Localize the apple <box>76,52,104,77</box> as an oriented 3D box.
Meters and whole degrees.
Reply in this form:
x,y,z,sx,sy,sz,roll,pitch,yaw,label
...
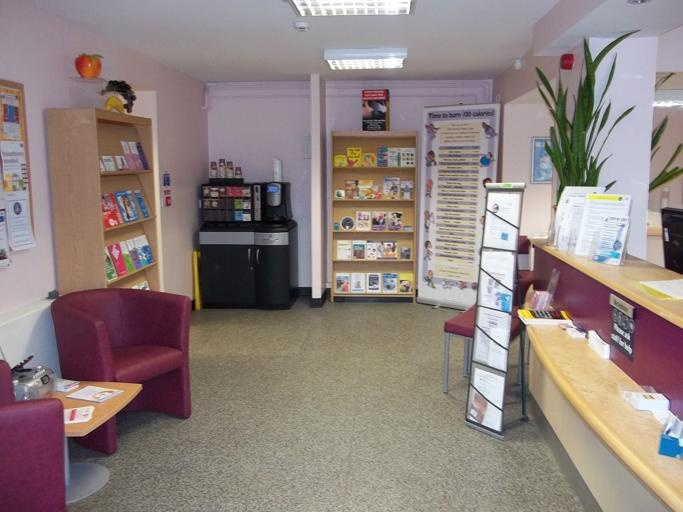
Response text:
x,y,z,sx,sy,sz,roll,pitch,yaw,label
-2.246,-1.686,4.357,0.247,0.246,0.247,-6,28,-31,apple

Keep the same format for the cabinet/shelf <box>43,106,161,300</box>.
x,y,z,sx,sy,sz,roll,pitch,yaw,label
-2.141,-0.440,4.453,0.474,1.728,0.990,4,14,15,cabinet/shelf

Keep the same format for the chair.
x,y,z,sx,sy,sz,roll,pitch,yaw,label
1.319,0.684,4.355,0.449,0.818,1.551,2,7,19,chair

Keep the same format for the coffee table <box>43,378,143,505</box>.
x,y,z,sx,sy,sz,roll,pitch,yaw,label
-1.661,1.243,3.230,0.668,0.481,0.664,-1,10,-9,coffee table

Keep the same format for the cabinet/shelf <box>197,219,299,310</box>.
x,y,z,sx,sy,sz,roll,pitch,yaw,label
-1.326,0.094,7.149,1.360,1.255,0.957,1,7,9,cabinet/shelf

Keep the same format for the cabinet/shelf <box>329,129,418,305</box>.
x,y,z,sx,sy,sz,roll,pitch,yaw,label
0.485,-0.574,7.119,1.283,2.439,0.589,1,13,6,cabinet/shelf

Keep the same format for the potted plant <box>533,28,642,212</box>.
x,y,z,sx,sy,sz,roll,pitch,yaw,label
2.059,-1.192,4.201,0.815,1.422,1.114,7,15,29,potted plant

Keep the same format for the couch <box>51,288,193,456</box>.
x,y,z,sx,sy,sz,roll,pitch,yaw,label
-1.757,0.727,4.215,1.079,1.334,1.324,3,6,23,couch

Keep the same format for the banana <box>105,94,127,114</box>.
x,y,z,sx,sy,sz,roll,pitch,yaw,label
-2.105,-1.396,4.474,0.210,0.142,0.335,-12,18,-39,banana

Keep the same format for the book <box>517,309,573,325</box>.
x,y,z,sx,sy,sz,roll,pitch,yaw,label
1.539,0.454,3.678,0.369,0.051,0.367,2,14,10,book
